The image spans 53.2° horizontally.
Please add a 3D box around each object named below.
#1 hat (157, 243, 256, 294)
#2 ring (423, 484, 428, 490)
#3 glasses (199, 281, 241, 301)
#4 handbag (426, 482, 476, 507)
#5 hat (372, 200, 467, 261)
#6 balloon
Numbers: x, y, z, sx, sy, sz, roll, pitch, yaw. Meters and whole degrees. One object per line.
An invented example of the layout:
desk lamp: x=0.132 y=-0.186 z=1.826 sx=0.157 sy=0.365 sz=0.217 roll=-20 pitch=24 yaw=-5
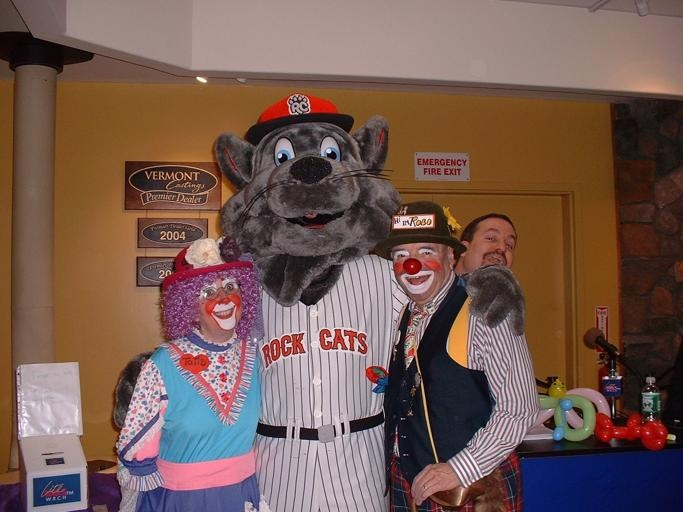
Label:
hat: x=-0.714 y=-0.003 z=3.609 sx=0.485 sy=0.215 sz=0.456 roll=-9 pitch=10 yaw=0
ring: x=0.404 y=1.108 z=3.278 sx=0.014 sy=0.030 sz=0.009 roll=9 pitch=-10 yaw=-16
glasses: x=-0.623 y=0.171 z=3.471 sx=0.119 sy=0.041 sz=0.125 roll=-10 pitch=-31 yaw=-18
handbag: x=0.559 y=1.156 z=3.295 sx=0.158 sy=0.064 sz=0.115 roll=-1 pitch=-14 yaw=-31
hat: x=0.415 y=-0.163 z=3.628 sx=0.494 sy=0.255 sz=0.476 roll=3 pitch=-4 yaw=-35
balloon: x=1.572 y=0.964 z=4.162 sx=0.716 sy=0.320 sz=0.417 roll=0 pitch=0 yaw=14
